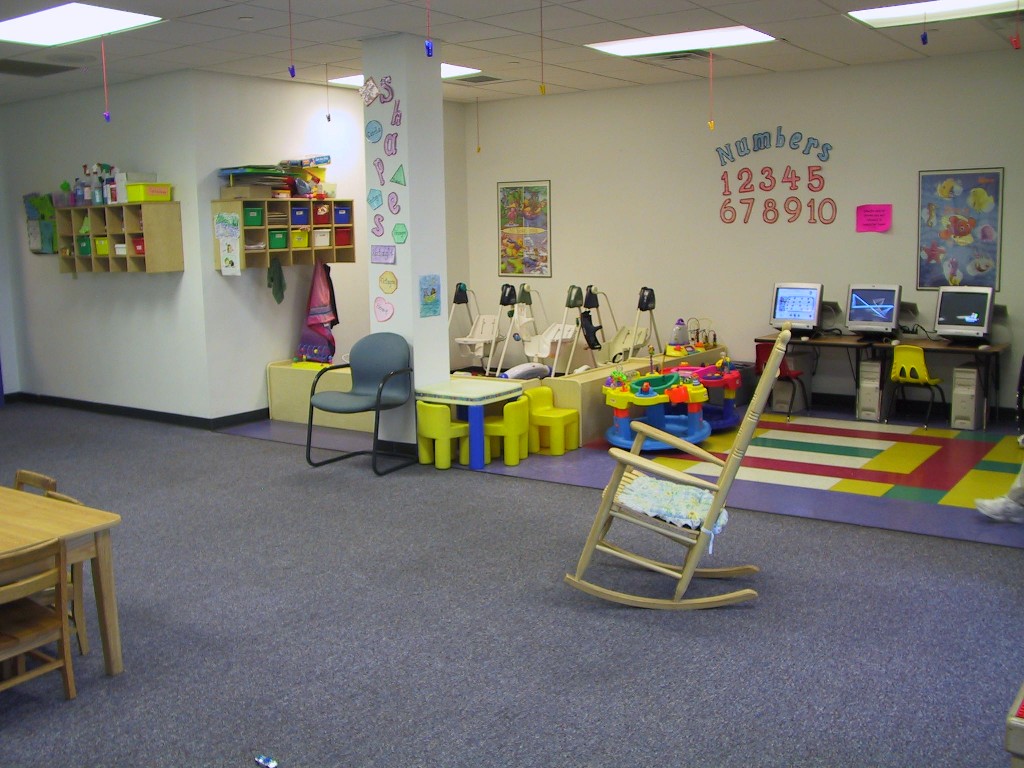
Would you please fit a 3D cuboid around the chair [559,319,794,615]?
[{"bbox_3d":[0.814,0.536,4.899,1.512,2.198,1.166,7,8,15],"label":"chair"}]

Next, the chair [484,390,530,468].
[{"bbox_3d":[-0.020,0.367,6.636,0.497,0.689,0.492,4,8,22],"label":"chair"}]

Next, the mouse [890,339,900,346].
[{"bbox_3d":[3.626,-0.389,7.346,0.086,0.035,0.125,2,15,24],"label":"mouse"}]

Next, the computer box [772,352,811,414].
[{"bbox_3d":[2.874,-0.002,7.957,0.443,0.793,0.560,1,4,20],"label":"computer box"}]

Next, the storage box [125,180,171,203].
[{"bbox_3d":[-3.482,-1.834,7.484,0.283,0.183,0.288,7,10,39],"label":"storage box"}]

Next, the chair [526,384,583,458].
[{"bbox_3d":[0.332,0.294,6.969,0.525,0.735,0.519,3,9,29],"label":"chair"}]

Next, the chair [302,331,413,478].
[{"bbox_3d":[-1.282,0.120,6.553,0.843,1.073,1.154,-8,14,-28],"label":"chair"}]

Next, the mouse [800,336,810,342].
[{"bbox_3d":[2.921,-0.445,7.720,0.069,0.017,0.066,-2,15,0],"label":"mouse"}]

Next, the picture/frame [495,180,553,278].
[{"bbox_3d":[0.184,-1.938,9.583,1.069,1.546,0.061,5,11,29],"label":"picture/frame"}]

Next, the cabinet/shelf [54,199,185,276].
[{"bbox_3d":[-3.949,-1.458,7.850,1.558,0.718,0.396,6,14,31],"label":"cabinet/shelf"}]

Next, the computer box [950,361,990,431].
[{"bbox_3d":[4.231,0.119,7.145,0.324,0.571,0.212,3,13,20],"label":"computer box"}]

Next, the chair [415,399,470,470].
[{"bbox_3d":[-0.582,0.368,6.544,0.501,0.651,0.489,-8,12,-43],"label":"chair"}]

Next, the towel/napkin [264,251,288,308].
[{"bbox_3d":[-2.413,-1.079,7.924,0.098,0.439,0.425,4,13,11],"label":"towel/napkin"}]
